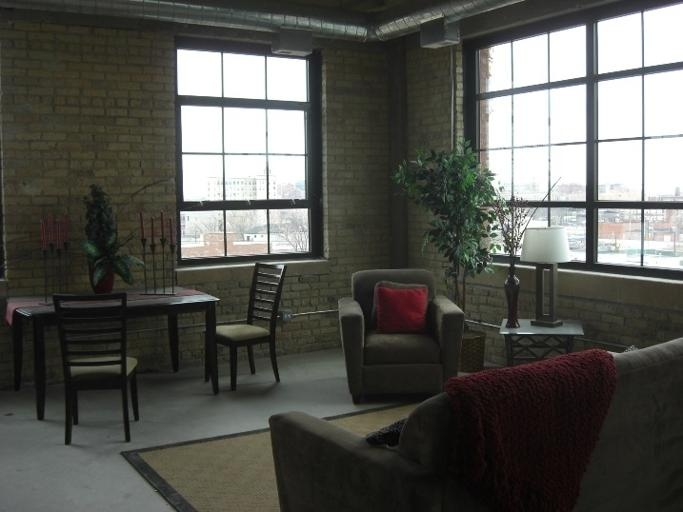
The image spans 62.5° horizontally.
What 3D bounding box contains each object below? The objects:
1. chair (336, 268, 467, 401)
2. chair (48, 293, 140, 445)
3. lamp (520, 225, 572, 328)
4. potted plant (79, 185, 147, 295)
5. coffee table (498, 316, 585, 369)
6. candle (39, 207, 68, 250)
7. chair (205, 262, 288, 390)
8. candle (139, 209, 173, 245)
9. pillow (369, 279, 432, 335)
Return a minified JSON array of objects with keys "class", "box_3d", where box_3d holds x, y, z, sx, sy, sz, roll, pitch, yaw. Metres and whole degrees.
[{"class":"chair","box_3d":[0.453,0.651,5.166,1.102,1.158,1.078,0,-3,-3]},{"class":"chair","box_3d":[-2.008,0.784,4.658,0.586,1.136,1.457,-4,8,-26]},{"class":"lamp","box_3d":[1.830,0.182,5.029,0.383,0.879,0.423,4,8,36]},{"class":"potted plant","box_3d":[-2.210,-0.180,5.409,0.486,1.018,0.569,-4,7,-23]},{"class":"coffee table","box_3d":[1.814,0.750,5.102,0.713,0.692,0.495,0,1,21]},{"class":"candle","box_3d":[-2.714,-0.233,5.334,0.248,0.395,0.326,-4,8,-28]},{"class":"chair","box_3d":[-0.953,0.671,5.577,0.881,1.139,0.904,0,0,32]},{"class":"candle","box_3d":[-1.901,-0.298,5.720,0.355,0.376,0.086,1,5,8]},{"class":"pillow","box_3d":[0.542,0.495,5.167,0.422,0.415,0.157,1,-22,5]}]
